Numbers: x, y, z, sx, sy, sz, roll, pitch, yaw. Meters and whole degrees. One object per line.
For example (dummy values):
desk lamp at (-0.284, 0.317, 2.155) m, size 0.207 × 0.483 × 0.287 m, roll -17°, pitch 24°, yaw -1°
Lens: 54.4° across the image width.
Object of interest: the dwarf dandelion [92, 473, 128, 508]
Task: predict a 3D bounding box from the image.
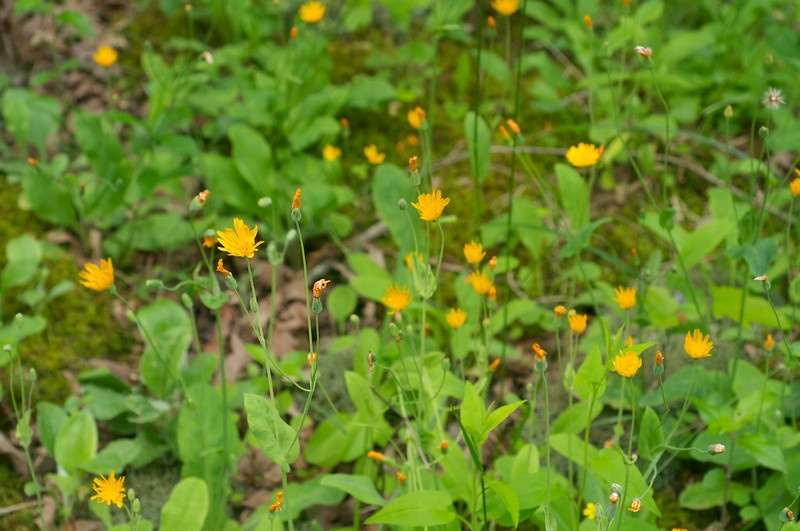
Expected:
dwarf dandelion at (-0.795, 0.607, 2.143) m, size 0.075 × 0.087 × 0.046 m, roll 5°, pitch 84°, yaw 21°
